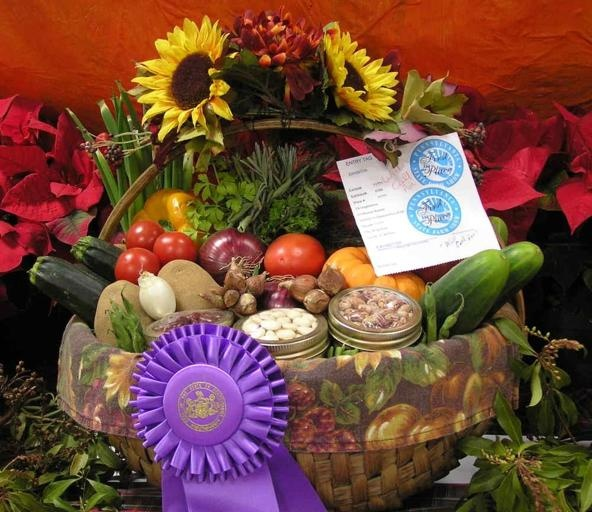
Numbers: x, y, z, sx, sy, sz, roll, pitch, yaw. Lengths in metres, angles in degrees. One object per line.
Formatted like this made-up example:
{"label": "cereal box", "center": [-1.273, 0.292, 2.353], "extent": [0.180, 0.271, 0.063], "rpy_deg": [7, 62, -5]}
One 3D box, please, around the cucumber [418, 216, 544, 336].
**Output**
{"label": "cucumber", "center": [0.322, 0.036, 0.902], "extent": [0.090, 0.240, 0.099], "rpy_deg": [21, 36, -60]}

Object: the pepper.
{"label": "pepper", "center": [-0.260, -0.096, 1.220], "extent": [0.123, 0.127, 0.110], "rpy_deg": [13, 22, 37]}

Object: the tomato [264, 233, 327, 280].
{"label": "tomato", "center": [-0.002, -0.001, 1.133], "extent": [0.134, 0.075, 0.089], "rpy_deg": [13, 20, 39]}

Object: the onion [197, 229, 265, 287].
{"label": "onion", "center": [-0.131, -0.007, 1.092], "extent": [0.140, 0.104, 0.085], "rpy_deg": [-3, 19, -7]}

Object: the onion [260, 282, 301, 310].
{"label": "onion", "center": [-0.033, 0.070, 1.005], "extent": [0.059, 0.044, 0.059], "rpy_deg": [6, 3, 37]}

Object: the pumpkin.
{"label": "pumpkin", "center": [0.147, 0.017, 1.078], "extent": [0.160, 0.091, 0.177], "rpy_deg": [-9, 15, -34]}
